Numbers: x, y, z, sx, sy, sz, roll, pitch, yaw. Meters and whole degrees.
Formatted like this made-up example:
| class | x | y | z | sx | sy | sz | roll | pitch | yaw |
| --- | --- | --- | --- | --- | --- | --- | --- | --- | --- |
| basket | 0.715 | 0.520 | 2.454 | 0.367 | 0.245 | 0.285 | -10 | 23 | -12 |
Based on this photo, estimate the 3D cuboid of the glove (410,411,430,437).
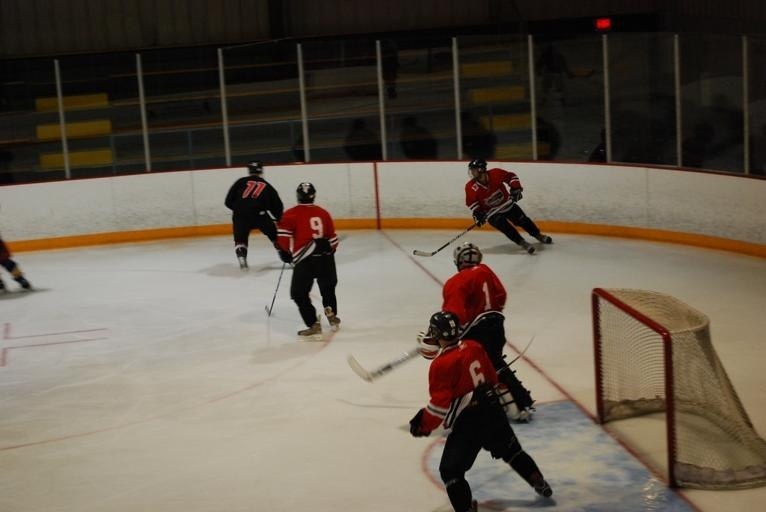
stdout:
| class | x | y | z | sx | sy | sz | roll | pitch | yaw |
| --- | --- | --- | --- | --- | --- | --- | --- | --- | --- |
| glove | 0.228 | 1.133 | 4.958 | 0.073 | 0.177 | 0.130 | 13 | 26 | -8 |

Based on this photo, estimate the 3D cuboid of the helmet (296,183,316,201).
| class | x | y | z | sx | sy | sz | roll | pitch | yaw |
| --- | --- | --- | --- | --- | --- | --- | --- | --- | --- |
| helmet | -0.807 | -0.679 | 7.833 | 0.212 | 0.230 | 0.248 | 2 | -18 | -6 |

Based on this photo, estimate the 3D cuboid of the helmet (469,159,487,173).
| class | x | y | z | sx | sy | sz | roll | pitch | yaw |
| --- | --- | --- | --- | --- | --- | --- | --- | --- | --- |
| helmet | 1.307 | -1.220 | 10.038 | 0.266 | 0.185 | 0.168 | -6 | 9 | -12 |

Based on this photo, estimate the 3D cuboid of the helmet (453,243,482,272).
| class | x | y | z | sx | sy | sz | roll | pitch | yaw |
| --- | --- | --- | --- | --- | --- | --- | --- | --- | --- |
| helmet | 0.698 | -0.007 | 5.988 | 0.205 | 0.209 | 0.236 | -1 | 8 | -9 |

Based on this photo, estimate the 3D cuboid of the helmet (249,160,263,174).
| class | x | y | z | sx | sy | sz | roll | pitch | yaw |
| --- | --- | --- | --- | --- | --- | --- | --- | --- | --- |
| helmet | -1.804 | -1.250 | 10.496 | 0.190 | 0.185 | 0.181 | -6 | 9 | -14 |

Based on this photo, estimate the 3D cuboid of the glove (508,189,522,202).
| class | x | y | z | sx | sy | sz | roll | pitch | yaw |
| --- | --- | --- | --- | --- | --- | --- | --- | --- | --- |
| glove | 1.881 | -0.867 | 10.386 | 0.177 | 0.161 | 0.116 | 3 | 39 | 20 |

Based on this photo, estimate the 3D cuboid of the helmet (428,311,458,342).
| class | x | y | z | sx | sy | sz | roll | pitch | yaw |
| --- | --- | --- | --- | --- | --- | --- | --- | --- | --- |
| helmet | 0.416 | 0.462 | 4.983 | 0.170 | 0.164 | 0.210 | -2 | 16 | -15 |

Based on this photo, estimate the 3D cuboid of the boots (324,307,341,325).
| class | x | y | z | sx | sy | sz | roll | pitch | yaw |
| --- | --- | --- | --- | --- | --- | --- | --- | --- | --- |
| boots | -0.547 | 0.641 | 7.949 | 0.136 | 0.210 | 0.052 | -33 | 12 | -25 |

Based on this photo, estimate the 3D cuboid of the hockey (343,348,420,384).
| class | x | y | z | sx | sy | sz | roll | pitch | yaw |
| --- | --- | --- | --- | --- | --- | --- | --- | --- | --- |
| hockey | 0.005 | 1.014 | 6.784 | 0.459 | 0.098 | 0.445 | -17 | 10 | -29 |

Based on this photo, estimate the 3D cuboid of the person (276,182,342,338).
| class | x | y | z | sx | sy | sz | roll | pitch | yaw |
| --- | --- | --- | --- | --- | --- | --- | --- | --- | --- |
| person | -0.769 | 0.032 | 7.847 | 0.567 | 1.599 | 0.625 | -1 | 10 | 19 |

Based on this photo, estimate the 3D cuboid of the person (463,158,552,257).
| class | x | y | z | sx | sy | sz | roll | pitch | yaw |
| --- | --- | --- | --- | --- | --- | --- | --- | --- | --- |
| person | 1.660 | -0.705 | 10.390 | 0.764 | 1.341 | 1.614 | -32 | 23 | -9 |

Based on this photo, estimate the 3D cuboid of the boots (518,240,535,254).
| class | x | y | z | sx | sy | sz | roll | pitch | yaw |
| --- | --- | --- | --- | --- | --- | --- | --- | --- | --- |
| boots | 2.049 | -0.116 | 10.316 | 0.127 | 0.100 | 0.279 | 38 | 2 | -37 |

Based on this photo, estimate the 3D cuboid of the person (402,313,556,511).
| class | x | y | z | sx | sy | sz | roll | pitch | yaw |
| --- | --- | --- | --- | --- | --- | --- | --- | --- | --- |
| person | 0.601 | 1.014 | 4.963 | 0.722 | 1.300 | 0.451 | -11 | 11 | -36 |

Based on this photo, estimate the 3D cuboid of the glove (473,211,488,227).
| class | x | y | z | sx | sy | sz | roll | pitch | yaw |
| --- | --- | --- | --- | --- | --- | --- | --- | --- | --- |
| glove | 1.404 | -0.529 | 10.452 | 0.177 | 0.206 | 0.303 | -3 | 8 | 8 |
